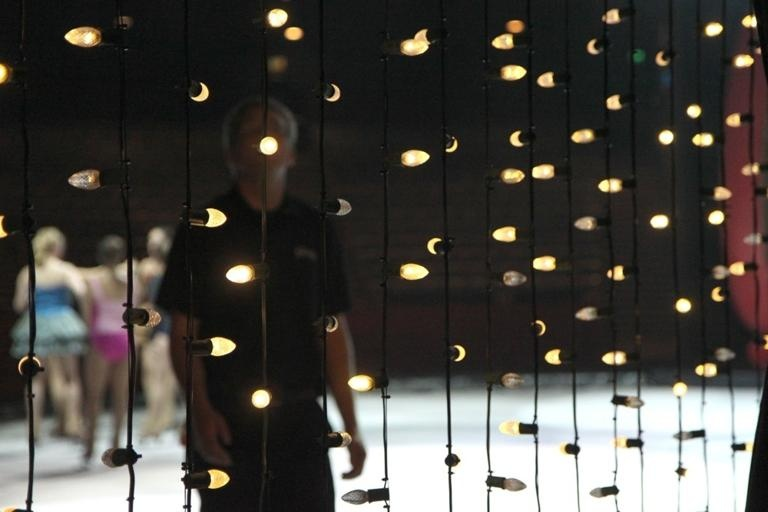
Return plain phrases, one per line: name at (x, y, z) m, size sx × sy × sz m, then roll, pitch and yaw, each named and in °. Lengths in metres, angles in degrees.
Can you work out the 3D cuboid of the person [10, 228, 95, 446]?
person at (-1.315, 0.329, 7.255) m, size 0.225 × 0.817 × 0.334 m, roll -1°, pitch -17°, yaw -11°
